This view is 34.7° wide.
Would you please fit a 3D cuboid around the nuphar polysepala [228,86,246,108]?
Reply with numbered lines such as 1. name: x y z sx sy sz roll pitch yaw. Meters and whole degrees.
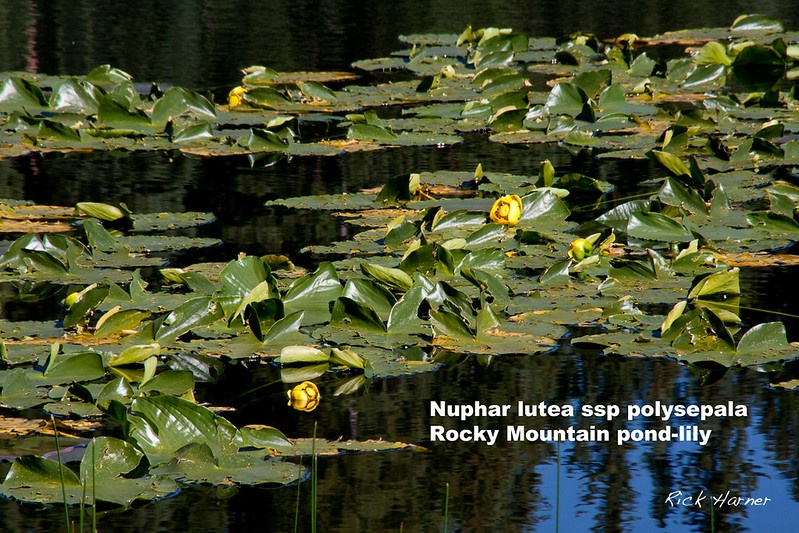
1. nuphar polysepala: -0.984 -0.986 7.544 0.073 0.126 0.166 3 -5 -36

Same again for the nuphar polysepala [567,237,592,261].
1. nuphar polysepala: 0.701 -0.061 4.882 0.089 0.062 0.113 -16 2 36

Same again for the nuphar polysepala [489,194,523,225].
1. nuphar polysepala: 0.444 -0.231 5.297 0.177 0.116 0.106 2 -13 3

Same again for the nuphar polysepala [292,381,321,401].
1. nuphar polysepala: -0.300 0.404 4.132 0.101 0.057 0.042 1 -4 -16
